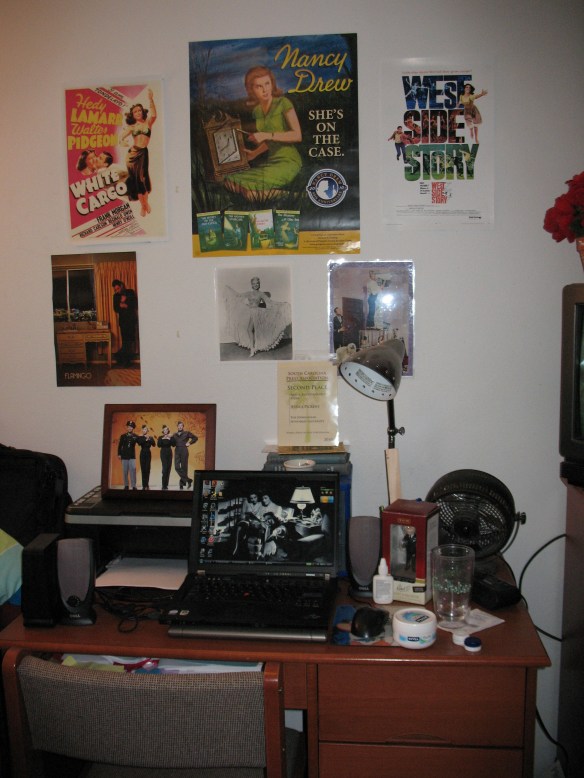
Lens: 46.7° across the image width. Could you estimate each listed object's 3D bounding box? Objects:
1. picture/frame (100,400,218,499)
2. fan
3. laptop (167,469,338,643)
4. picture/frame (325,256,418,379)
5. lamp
[{"bbox_3d":[-0.352,0.170,1.807,0.237,0.205,0.018,-2,-13,5],"label":"picture/frame"},{"bbox_3d":[0.448,0.360,1.676,0.227,0.290,0.167,6,19,31],"label":"fan"},{"bbox_3d":[-0.075,0.310,1.479,0.331,0.230,0.312,0,8,7],"label":"laptop"},{"bbox_3d":[0.221,-0.202,1.806,0.329,0.449,0.020,1,13,8],"label":"picture/frame"},{"bbox_3d":[0.195,0.105,1.700,0.186,0.439,0.433,-1,8,9],"label":"lamp"}]
